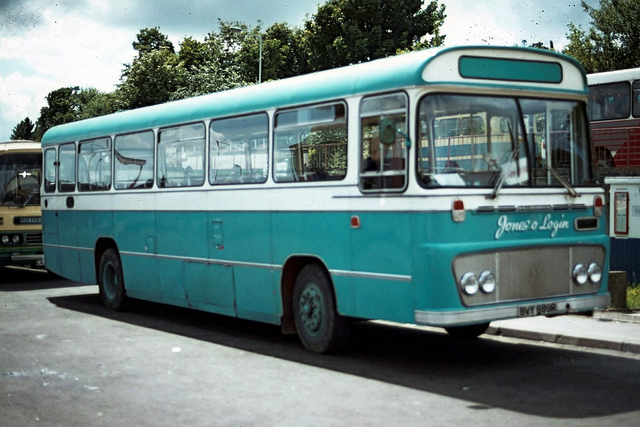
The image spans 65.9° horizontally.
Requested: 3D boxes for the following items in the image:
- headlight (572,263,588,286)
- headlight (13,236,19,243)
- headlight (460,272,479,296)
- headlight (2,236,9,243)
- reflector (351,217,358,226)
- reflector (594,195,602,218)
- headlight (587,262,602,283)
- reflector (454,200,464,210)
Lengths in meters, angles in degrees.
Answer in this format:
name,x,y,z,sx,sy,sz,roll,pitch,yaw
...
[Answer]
name,x,y,z,sx,sy,sz,roll,pitch,yaw
headlight,3.669,0.878,7.074,0.311,0.325,0.081,0,-5,-38
headlight,-9.531,0.825,15.634,0.189,0.200,0.048,1,-7,-23
headlight,1.869,0.904,6.302,0.291,0.305,0.085,-1,-1,-32
headlight,-9.770,0.824,15.525,0.165,0.197,0.053,0,0,-35
reflector,0.485,0.119,7.061,0.026,0.101,0.094,-3,-4,-45
reflector,4.070,-0.102,7.310,0.186,0.327,0.042,0,0,-34
headlight,3.947,0.868,7.199,0.261,0.286,0.076,-14,6,-38
reflector,1.753,-0.100,6.271,0.107,0.114,0.030,-5,-1,-19
